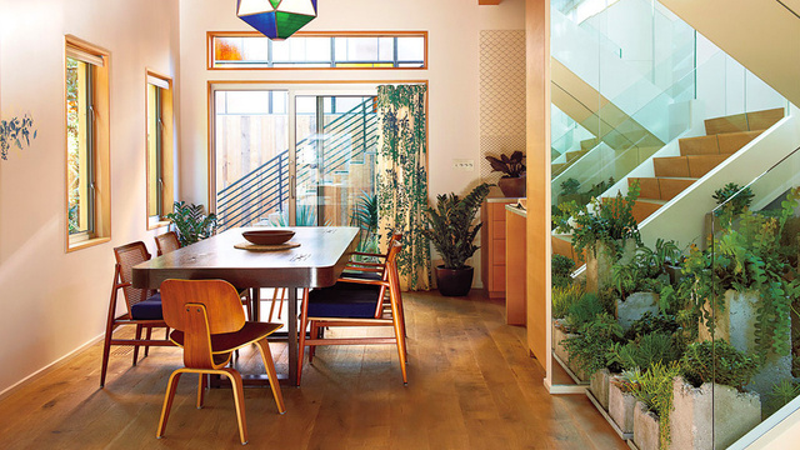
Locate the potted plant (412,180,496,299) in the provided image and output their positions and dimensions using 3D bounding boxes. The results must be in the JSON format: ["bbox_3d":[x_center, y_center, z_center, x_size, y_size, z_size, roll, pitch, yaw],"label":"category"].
[{"bbox_3d":[0.797,0.249,7.809,1.279,1.767,1.439,0,3,5],"label":"potted plant"}]

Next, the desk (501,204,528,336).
[{"bbox_3d":[1.306,0.453,6.090,0.231,1.308,0.418,2,8,-2],"label":"desk"}]

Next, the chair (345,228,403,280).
[{"bbox_3d":[-0.303,0.329,5.776,0.638,0.829,0.538,2,3,1],"label":"chair"}]

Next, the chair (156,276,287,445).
[{"bbox_3d":[-1.394,0.990,4.191,0.918,1.237,0.595,0,9,-20],"label":"chair"}]

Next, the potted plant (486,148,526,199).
[{"bbox_3d":[1.364,-0.664,7.377,0.645,0.575,0.625,0,0,-2],"label":"potted plant"}]
